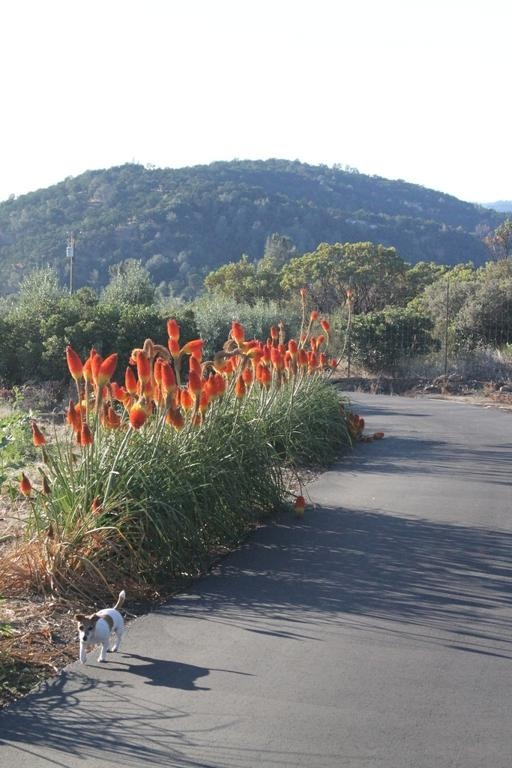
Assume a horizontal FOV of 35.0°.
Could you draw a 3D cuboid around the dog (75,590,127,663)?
[{"bbox_3d":[-0.531,0.836,2.803,0.092,0.201,0.302,3,-1,16],"label":"dog"}]
